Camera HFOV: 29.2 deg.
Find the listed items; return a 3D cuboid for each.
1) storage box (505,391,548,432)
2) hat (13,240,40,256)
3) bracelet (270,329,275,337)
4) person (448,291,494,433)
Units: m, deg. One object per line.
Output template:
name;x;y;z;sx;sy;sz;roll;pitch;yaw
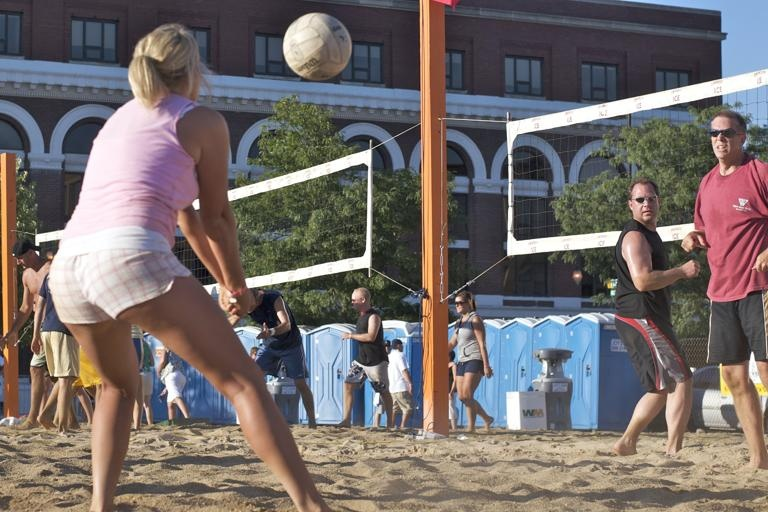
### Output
storage box;3.701;3.670;36.212;0.776;1.170;0.617;1;28;14
hat;-8.051;-0.186;33.116;0.287;0.282;0.493;2;8;36
bracelet;-2.503;1.697;33.056;0.131;0.139;0.037;-3;-4;42
person;2.123;2.462;34.719;1.128;3.225;0.957;2;-3;-45
